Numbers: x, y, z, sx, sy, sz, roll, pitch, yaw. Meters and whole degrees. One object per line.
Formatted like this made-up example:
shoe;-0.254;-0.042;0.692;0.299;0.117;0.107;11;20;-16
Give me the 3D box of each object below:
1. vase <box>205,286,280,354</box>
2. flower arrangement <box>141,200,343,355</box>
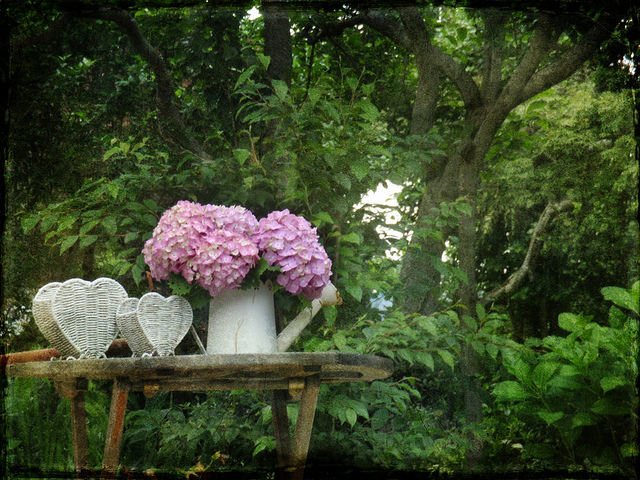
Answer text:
vase;-0.302;0.344;3.387;0.255;0.294;0.281;2;-24;-4
flower arrangement;-0.340;0.111;3.516;0.670;0.657;0.727;-1;-4;43
